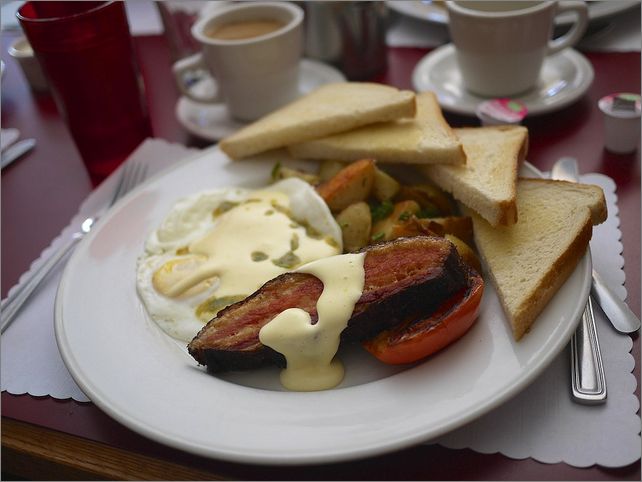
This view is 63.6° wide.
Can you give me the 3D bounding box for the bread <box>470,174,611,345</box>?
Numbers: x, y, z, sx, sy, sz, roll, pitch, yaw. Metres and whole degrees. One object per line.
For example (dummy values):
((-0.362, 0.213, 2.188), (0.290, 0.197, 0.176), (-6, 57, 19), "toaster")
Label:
((0.640, -0.010, 1.449), (0.370, 0.122, 0.597), (-11, 34, 20), "bread")
